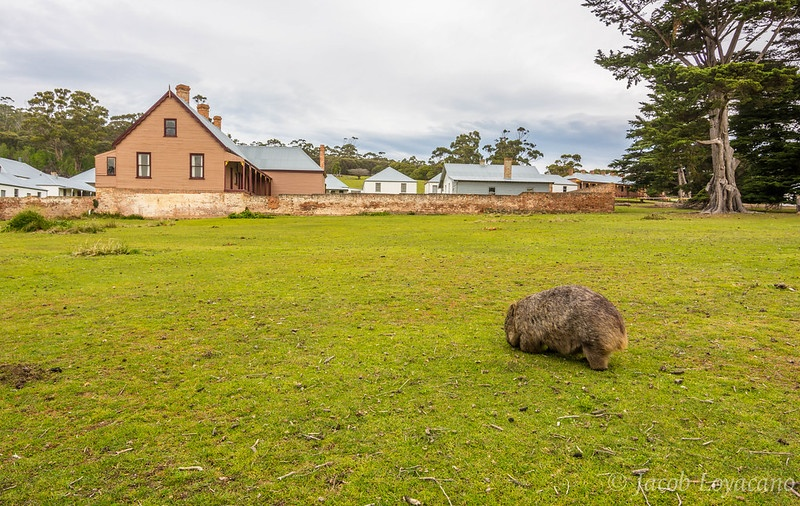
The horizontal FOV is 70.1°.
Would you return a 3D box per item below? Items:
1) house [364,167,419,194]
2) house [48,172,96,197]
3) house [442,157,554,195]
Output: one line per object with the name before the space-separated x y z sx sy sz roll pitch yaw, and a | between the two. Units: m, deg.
house | -1.398 -9.183 75.258 5.579 2.954 6.968 0 4 -5
house | -42.420 -8.664 74.254 4.574 2.459 8.519 -7 14 -25
house | 10.795 -8.634 64.309 12.083 4.076 6.772 1 13 8
